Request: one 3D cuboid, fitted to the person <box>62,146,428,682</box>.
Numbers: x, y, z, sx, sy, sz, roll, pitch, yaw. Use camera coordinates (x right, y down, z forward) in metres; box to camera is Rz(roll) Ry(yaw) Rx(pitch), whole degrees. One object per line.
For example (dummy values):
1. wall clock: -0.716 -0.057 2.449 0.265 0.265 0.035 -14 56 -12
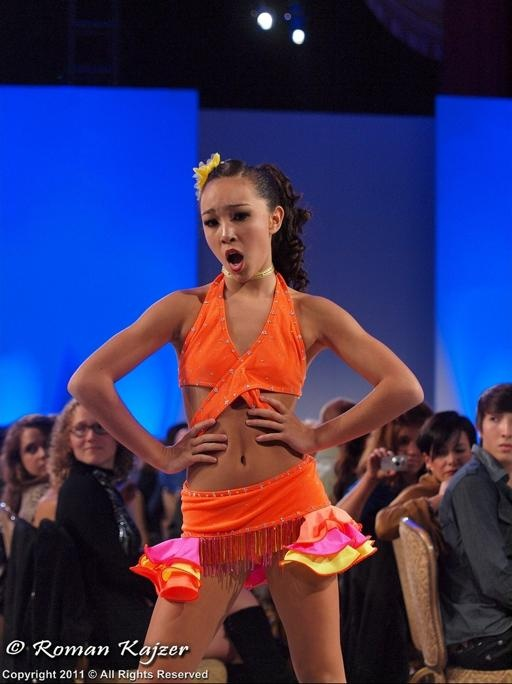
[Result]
1. person: -0.027 0.143 1.660 0.762 1.243 0.277 -3 -11 -17
